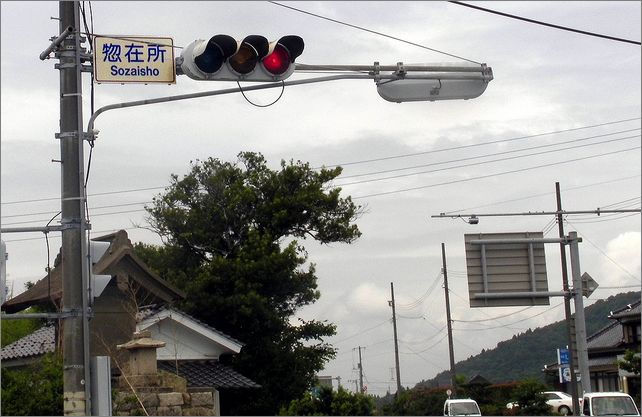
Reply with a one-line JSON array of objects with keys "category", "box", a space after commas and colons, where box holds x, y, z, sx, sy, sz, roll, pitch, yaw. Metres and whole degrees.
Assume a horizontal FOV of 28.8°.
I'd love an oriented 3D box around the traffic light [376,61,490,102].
[{"category": "traffic light", "box": [4.574, -4.920, 48.431, 4.157, 1.357, 0.639, -2, -14, -4]}]
